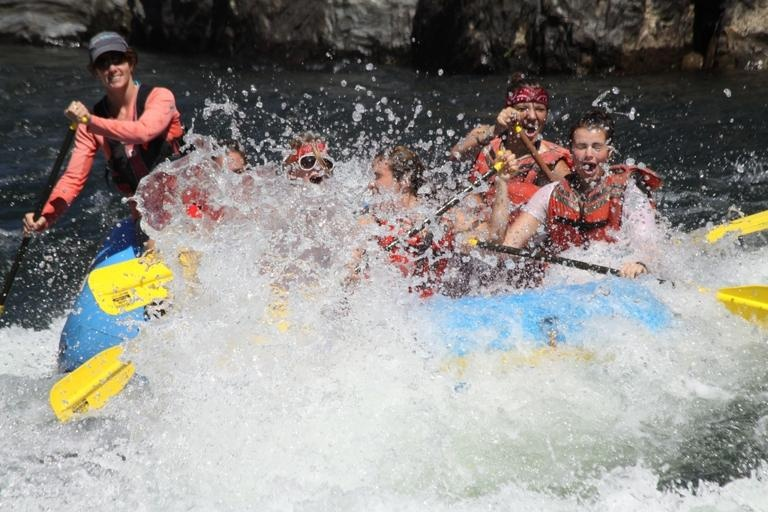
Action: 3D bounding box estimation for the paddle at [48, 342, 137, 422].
[{"bbox_3d":[-2.497,1.122,7.788,0.865,0.184,0.449,-38,81,-7],"label":"paddle"}]

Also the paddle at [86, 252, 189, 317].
[{"bbox_3d":[-2.300,0.262,7.968,0.965,0.166,0.504,-16,79,-3],"label":"paddle"}]

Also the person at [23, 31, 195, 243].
[{"bbox_3d":[-2.593,-1.085,8.101,1.397,1.328,0.963,-33,66,-21],"label":"person"}]
